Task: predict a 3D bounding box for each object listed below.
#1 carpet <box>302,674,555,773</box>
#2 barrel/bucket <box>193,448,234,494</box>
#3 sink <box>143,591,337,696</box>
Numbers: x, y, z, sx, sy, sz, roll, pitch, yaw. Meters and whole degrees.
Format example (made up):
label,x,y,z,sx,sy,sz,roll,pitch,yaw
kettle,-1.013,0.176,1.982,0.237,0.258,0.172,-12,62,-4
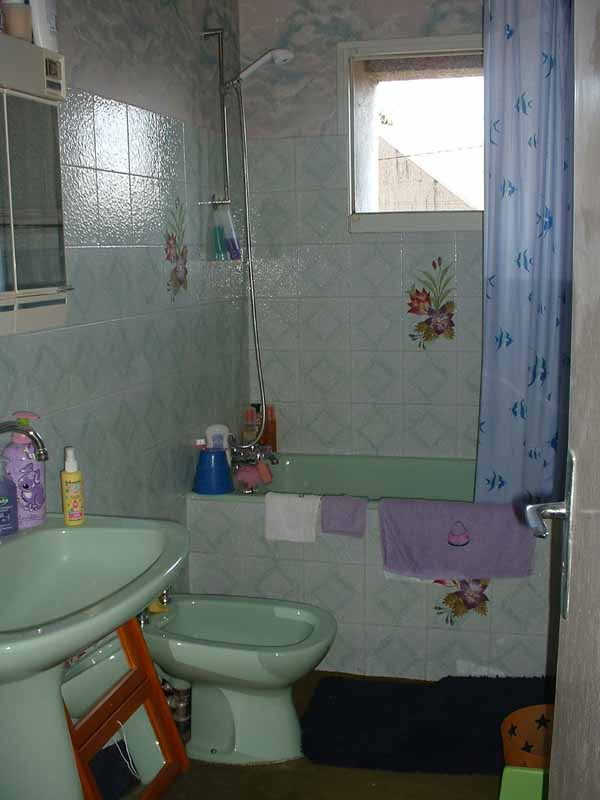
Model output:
label,x,y,z,sx,sy,sz,roll,pitch,yaw
carpet,0.412,1.019,2.187,0.820,0.062,0.511,0,8,9
barrel/bucket,-0.336,0.273,2.654,0.151,0.169,0.160,0,2,0
sink,-0.182,0.712,2.000,0.420,0.165,0.295,1,6,8
